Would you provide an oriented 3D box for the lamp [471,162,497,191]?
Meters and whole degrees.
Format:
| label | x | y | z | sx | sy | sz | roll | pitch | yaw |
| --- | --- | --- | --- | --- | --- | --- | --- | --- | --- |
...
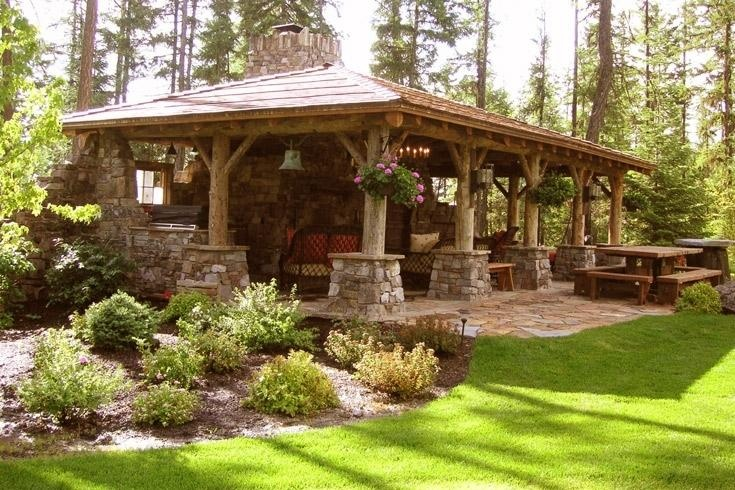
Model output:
| label | x | y | z | sx | sy | sz | roll | pitch | yaw |
| --- | --- | --- | --- | --- | --- | --- | --- | --- | --- |
| lamp | 2.748 | -1.566 | 14.415 | 0.460 | 0.548 | 0.376 | 3 | 15 | 5 |

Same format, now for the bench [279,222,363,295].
| label | x | y | z | sx | sy | sz | roll | pitch | yaw |
| --- | --- | --- | --- | --- | --- | --- | --- | --- | --- |
| bench | -1.266 | 0.300 | 16.087 | 2.078 | 1.662 | 1.092 | -9 | 19 | -36 |

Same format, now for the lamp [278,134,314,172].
| label | x | y | z | sx | sy | sz | roll | pitch | yaw |
| --- | --- | --- | --- | --- | --- | --- | --- | --- | --- |
| lamp | -1.726 | -2.211 | 14.198 | 0.876 | 0.905 | 0.666 | -1 | -3 | 5 |

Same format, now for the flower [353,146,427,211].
| label | x | y | z | sx | sy | sz | roll | pitch | yaw |
| --- | --- | --- | --- | --- | --- | --- | --- | --- | --- |
| flower | 0.523 | -1.386 | 12.510 | 1.183 | 0.698 | 1.179 | 24 | 12 | 1 |

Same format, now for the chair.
| label | x | y | z | sx | sy | sz | roll | pitch | yaw |
| --- | --- | --- | --- | --- | --- | --- | --- | --- | --- |
| chair | 2.615 | 0.374 | 17.286 | 2.924 | 1.774 | 1.729 | 0 | -1 | 35 |
